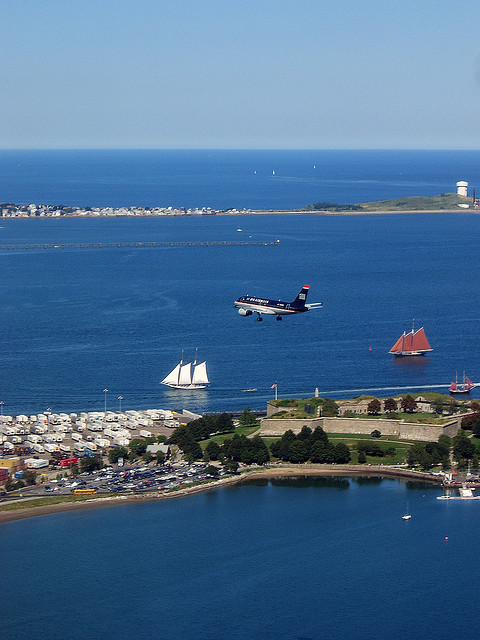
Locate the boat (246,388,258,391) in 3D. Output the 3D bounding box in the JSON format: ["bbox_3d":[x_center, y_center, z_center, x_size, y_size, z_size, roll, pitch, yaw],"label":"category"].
[{"bbox_3d":[0.952,5.713,115.378,1.056,0.133,0.604,5,14,20],"label":"boat"}]

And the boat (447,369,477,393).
[{"bbox_3d":[17.944,5.314,115.999,3.229,2.806,1.073,-2,2,7],"label":"boat"}]

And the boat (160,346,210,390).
[{"bbox_3d":[-4.707,4.155,118.365,4.045,4.158,0.879,-1,-28,6],"label":"boat"}]
